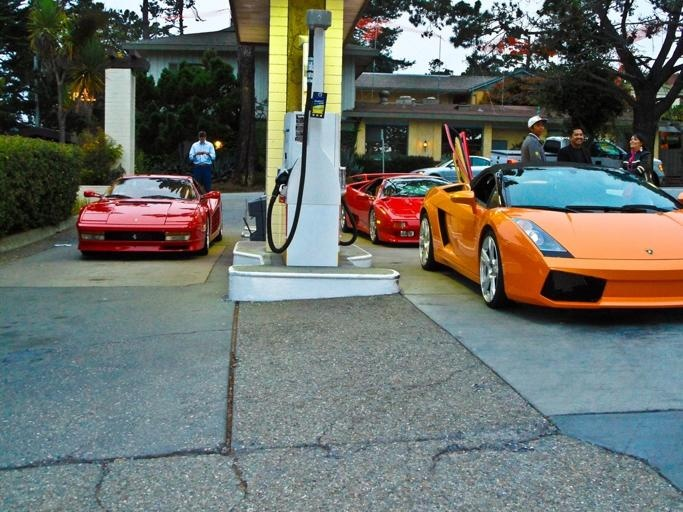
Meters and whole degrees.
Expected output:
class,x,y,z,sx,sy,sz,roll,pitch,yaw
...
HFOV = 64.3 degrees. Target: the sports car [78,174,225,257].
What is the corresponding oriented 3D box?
class,x,y,z,sx,sy,sz,roll,pitch,yaw
sports car,-3.372,-0.689,9.671,2.039,1.343,1.974,0,9,1
